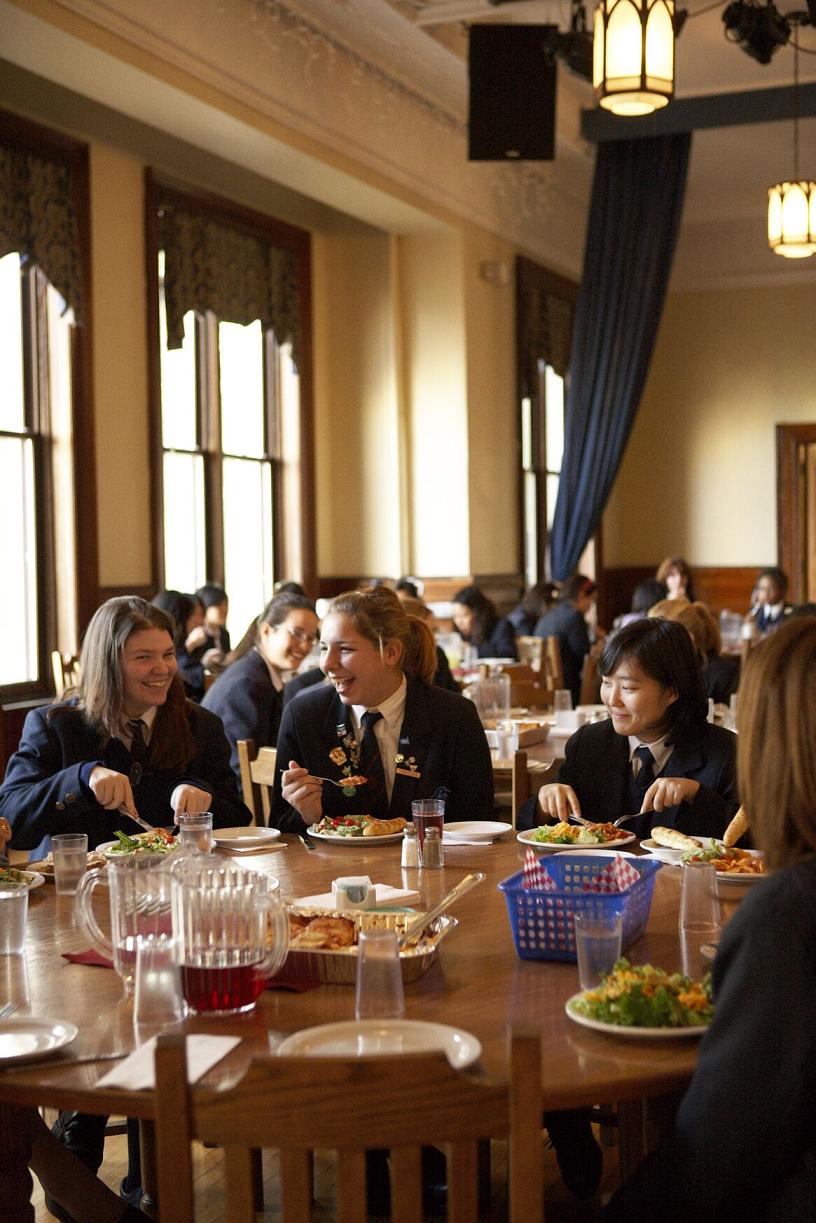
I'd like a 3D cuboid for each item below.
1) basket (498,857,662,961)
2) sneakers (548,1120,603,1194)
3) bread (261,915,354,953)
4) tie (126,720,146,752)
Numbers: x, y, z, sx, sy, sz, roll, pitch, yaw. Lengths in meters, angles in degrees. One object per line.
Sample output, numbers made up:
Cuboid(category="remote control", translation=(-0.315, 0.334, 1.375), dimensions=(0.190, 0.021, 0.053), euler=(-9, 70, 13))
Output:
Cuboid(category="basket", translation=(0.251, 0.417, 1.504), dimensions=(0.134, 0.078, 0.211), euler=(-2, -4, 18))
Cuboid(category="sneakers", translation=(0.335, 1.094, 2.046), dimensions=(0.101, 0.053, 0.196), euler=(7, 14, -4))
Cuboid(category="bread", translation=(-0.123, 0.434, 1.381), dimensions=(0.075, 0.026, 0.061), euler=(1, -7, 12))
Cuboid(category="tie", translation=(-0.686, 0.320, 2.561), dimensions=(0.039, 0.076, 0.034), euler=(1, -3, -20))
